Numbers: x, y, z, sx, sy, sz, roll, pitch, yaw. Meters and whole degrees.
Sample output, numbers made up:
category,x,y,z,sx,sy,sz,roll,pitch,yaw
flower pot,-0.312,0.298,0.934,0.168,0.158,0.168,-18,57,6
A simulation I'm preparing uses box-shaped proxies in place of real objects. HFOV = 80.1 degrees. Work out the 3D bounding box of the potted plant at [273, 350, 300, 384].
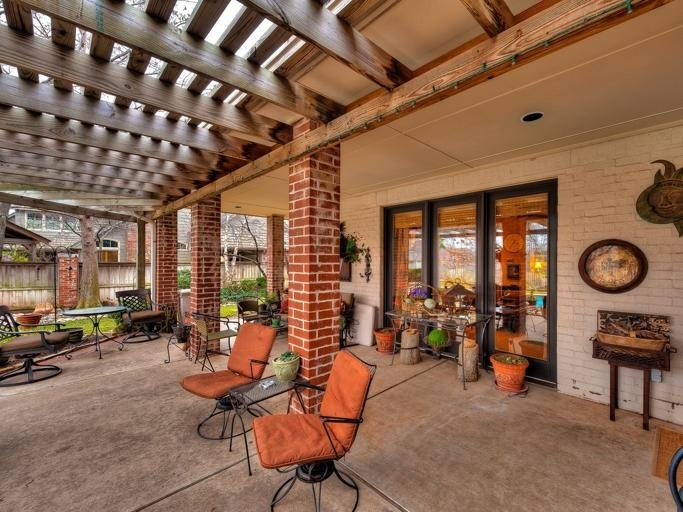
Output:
category,x,y,z,sx,sy,sz,roll,pitch,yaw
potted plant,-0.583,1.159,4.267,0.365,0.267,0.304,0,4,-18

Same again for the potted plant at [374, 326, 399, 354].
category,x,y,z,sx,sy,sz,roll,pitch,yaw
potted plant,0.760,1.455,7.000,0.524,0.288,0.475,1,-3,-30

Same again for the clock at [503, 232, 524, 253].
category,x,y,z,sx,sy,sz,roll,pitch,yaw
clock,2.561,-0.192,6.029,0.280,0.291,0.021,-2,-3,43

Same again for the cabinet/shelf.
category,x,y,z,sx,sy,sz,roll,pitch,yaw
cabinet/shelf,3.384,1.447,4.735,0.787,1.058,0.364,-1,-2,31

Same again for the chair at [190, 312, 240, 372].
category,x,y,z,sx,sy,sz,roll,pitch,yaw
chair,-1.914,1.218,6.075,0.686,0.652,0.552,6,-4,-32

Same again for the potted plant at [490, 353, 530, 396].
category,x,y,z,sx,sy,sz,roll,pitch,yaw
potted plant,2.353,1.619,5.498,0.600,0.339,0.562,4,-1,24

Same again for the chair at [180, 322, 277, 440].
category,x,y,z,sx,sy,sz,roll,pitch,yaw
chair,-1.247,1.393,4.614,0.756,0.889,1.076,-2,5,36

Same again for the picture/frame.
category,x,y,z,sx,sy,sz,roll,pitch,yaw
picture/frame,3.370,0.126,4.973,0.869,0.712,0.098,2,-4,44

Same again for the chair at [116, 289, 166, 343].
category,x,y,z,sx,sy,sz,roll,pitch,yaw
chair,-3.920,1.135,7.901,0.735,0.799,0.740,9,8,38
